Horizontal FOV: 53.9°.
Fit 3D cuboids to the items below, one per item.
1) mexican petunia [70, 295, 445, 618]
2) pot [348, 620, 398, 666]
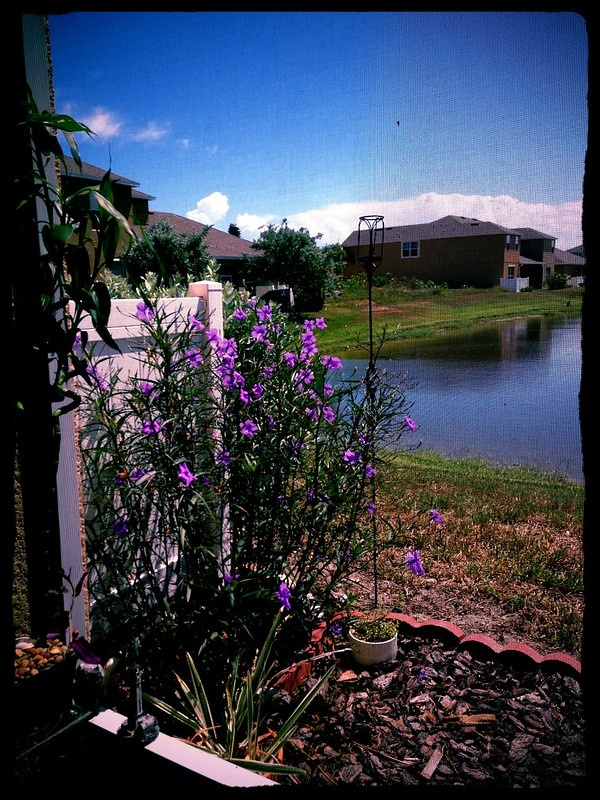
[{"bbox_3d":[-0.211,0.248,2.056,1.063,1.240,0.783,-2,5,-26],"label":"mexican petunia"},{"bbox_3d":[0.276,0.896,2.249,0.153,0.097,0.158,-1,-2,0],"label":"pot"}]
